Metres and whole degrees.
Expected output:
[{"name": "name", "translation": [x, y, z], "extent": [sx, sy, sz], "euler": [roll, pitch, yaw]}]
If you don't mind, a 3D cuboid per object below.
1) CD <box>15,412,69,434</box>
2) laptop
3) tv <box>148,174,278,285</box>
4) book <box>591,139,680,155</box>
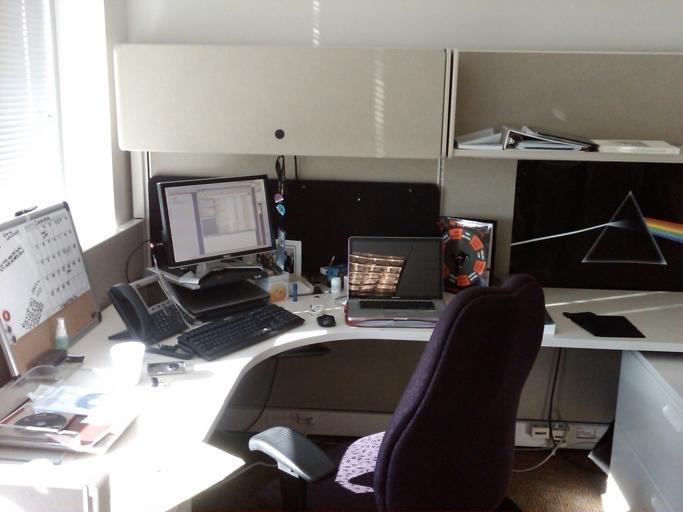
[{"name": "CD", "translation": [-0.870, 0.472, 1.580], "extent": [0.156, 0.032, 0.094], "euler": [0, 19, 0]}, {"name": "laptop", "translation": [0.235, 0.092, 2.410], "extent": [0.457, 0.378, 0.367], "euler": [1, 10, 1]}, {"name": "tv", "translation": [-0.566, -0.167, 2.560], "extent": [0.667, 0.605, 0.425], "euler": [-10, 14, -36]}, {"name": "book", "translation": [1.240, -0.469, 2.317], "extent": [0.369, 0.048, 0.182], "euler": [1, 19, 5]}]
